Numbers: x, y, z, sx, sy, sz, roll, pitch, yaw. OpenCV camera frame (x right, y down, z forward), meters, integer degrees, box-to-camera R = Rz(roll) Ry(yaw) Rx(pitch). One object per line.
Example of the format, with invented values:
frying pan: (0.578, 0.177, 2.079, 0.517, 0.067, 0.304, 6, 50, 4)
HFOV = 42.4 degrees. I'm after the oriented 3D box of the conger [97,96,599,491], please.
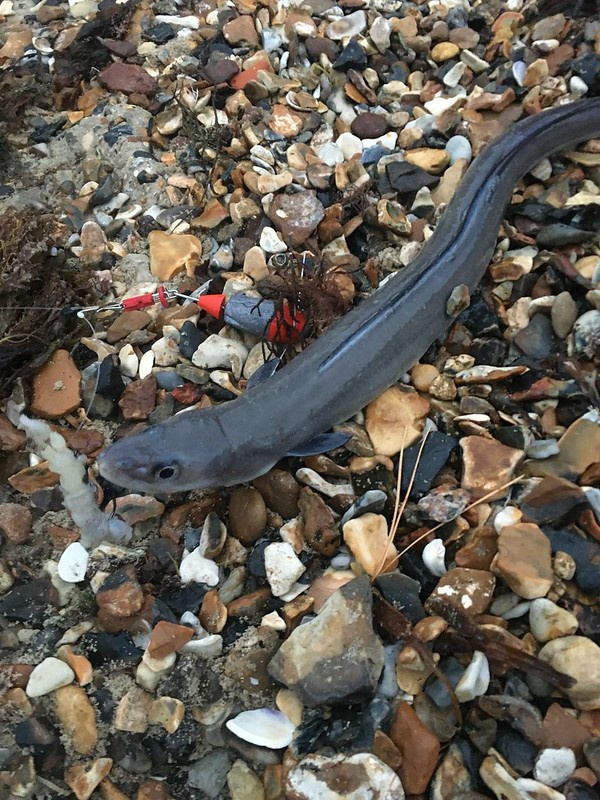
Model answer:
conger: (0.249, -0.399, 3.175, 2.482, 0.391, 0.498, -36, 75, -12)
